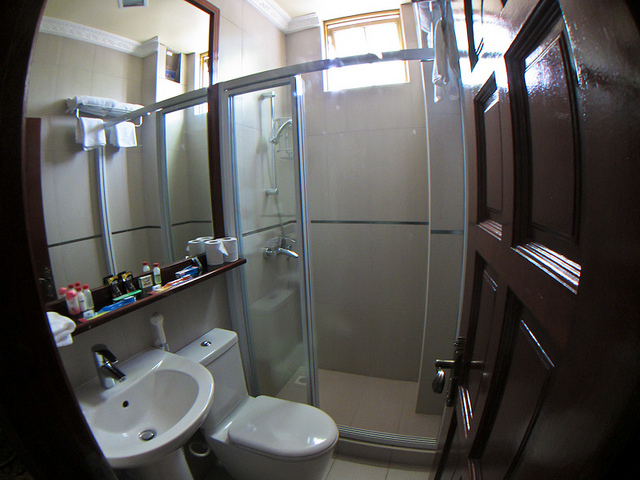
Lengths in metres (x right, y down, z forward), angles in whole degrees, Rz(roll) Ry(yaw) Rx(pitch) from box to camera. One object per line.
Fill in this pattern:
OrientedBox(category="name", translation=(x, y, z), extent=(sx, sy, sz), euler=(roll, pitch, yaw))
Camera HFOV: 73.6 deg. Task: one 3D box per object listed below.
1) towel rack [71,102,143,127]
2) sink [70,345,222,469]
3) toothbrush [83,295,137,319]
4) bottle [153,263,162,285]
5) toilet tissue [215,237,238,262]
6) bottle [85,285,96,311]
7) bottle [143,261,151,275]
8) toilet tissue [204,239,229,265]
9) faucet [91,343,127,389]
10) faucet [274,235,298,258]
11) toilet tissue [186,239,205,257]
OrientedBox(category="towel rack", translation=(-0.715, -0.424, 1.414), extent=(0.006, 0.053, 0.242), euler=(2, 13, 19))
OrientedBox(category="sink", translation=(-0.554, 0.466, 1.380), extent=(0.385, 0.306, 0.503), euler=(-10, 14, -33))
OrientedBox(category="toothbrush", translation=(-0.657, 0.207, 1.393), extent=(0.035, 0.029, 0.230), euler=(10, 17, 21))
OrientedBox(category="bottle", translation=(-0.619, 0.128, 1.628), extent=(0.026, 0.079, 0.056), euler=(-7, 13, -22))
OrientedBox(category="toilet tissue", translation=(-0.394, 0.041, 1.916), extent=(0.101, 0.109, 0.068), euler=(2, 10, 31))
OrientedBox(category="bottle", translation=(-0.731, 0.179, 1.361), extent=(0.023, 0.081, 0.088), euler=(-9, 14, -29))
OrientedBox(category="bottle", translation=(-0.641, 0.104, 1.582), extent=(0.022, 0.043, 0.038), euler=(-7, 13, -21))
OrientedBox(category="toilet tissue", translation=(-0.454, 0.055, 1.860), extent=(0.075, 0.107, 0.103), euler=(-1, -2, 43))
OrientedBox(category="faucet", translation=(-0.645, 0.410, 1.323), extent=(0.142, 0.154, 0.042), euler=(16, 28, 35))
OrientedBox(category="faucet", translation=(-0.167, 0.033, 1.985), extent=(0.109, 0.115, 0.073), euler=(5, 9, 27))
OrientedBox(category="toilet tissue", translation=(-0.536, 0.035, 1.855), extent=(0.057, 0.072, 0.062), euler=(-1, 2, 7))
